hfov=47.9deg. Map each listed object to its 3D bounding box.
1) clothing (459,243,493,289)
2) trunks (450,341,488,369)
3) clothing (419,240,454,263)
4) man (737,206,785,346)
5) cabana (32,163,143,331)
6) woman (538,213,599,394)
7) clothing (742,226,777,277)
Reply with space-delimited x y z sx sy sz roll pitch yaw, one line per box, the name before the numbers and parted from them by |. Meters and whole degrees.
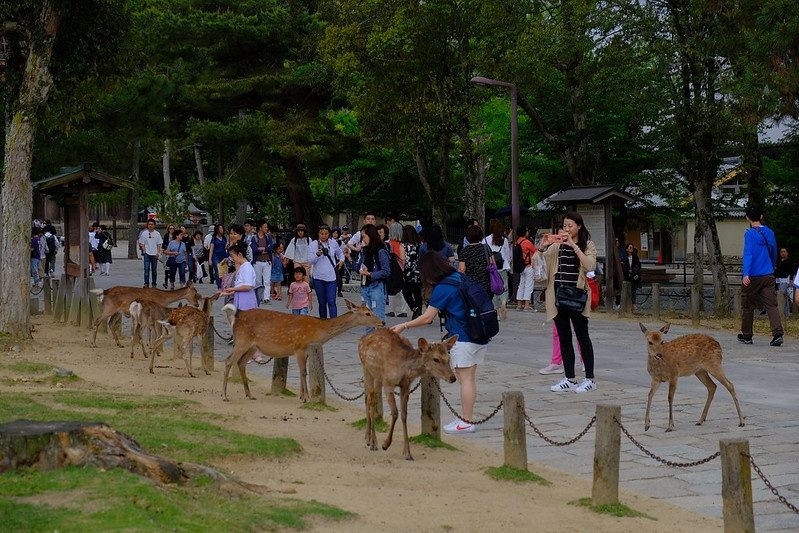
clothing | 1.488 0.011 17.498 0.768 1.022 0.543 -7 5 -16
trunks | 1.043 1.321 13.573 0.379 0.447 0.577 2 -1 45
clothing | 0.828 -0.386 19.551 0.784 0.786 0.444 1 -5 -10
man | 7.738 0.193 19.229 0.965 3.059 1.406 0 0 -18
cabana | -7.912 -0.490 22.111 2.024 4.029 1.815 1 -3 -23
woman | 2.946 0.620 15.475 0.849 3.087 0.614 -1 -3 22
clothing | 7.704 -0.293 19.185 1.077 1.003 0.490 -4 10 -17
